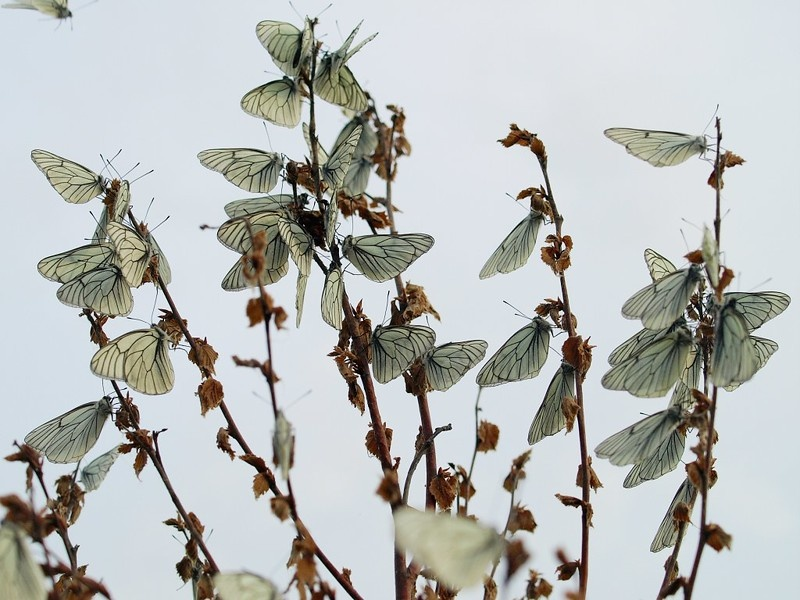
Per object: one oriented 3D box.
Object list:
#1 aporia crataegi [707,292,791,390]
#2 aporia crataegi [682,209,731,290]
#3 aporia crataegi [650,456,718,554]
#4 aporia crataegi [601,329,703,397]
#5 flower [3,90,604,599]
[{"bbox_3d":[0.768,0.084,3.774,0.106,0.125,0.203,-20,-22,-15],"label":"aporia crataegi"},{"bbox_3d":[0.631,-0.075,3.397,0.043,0.123,0.128,-1,-52,-5],"label":"aporia crataegi"},{"bbox_3d":[0.699,0.528,4.120,0.099,0.278,0.097,24,-28,-12],"label":"aporia crataegi"},{"bbox_3d":[0.620,0.203,4.032,0.084,0.198,0.162,-14,-3,40],"label":"aporia crataegi"},{"bbox_3d":[-0.197,0.158,3.668,0.632,1.077,0.684,-15,-17,14],"label":"flower"}]
